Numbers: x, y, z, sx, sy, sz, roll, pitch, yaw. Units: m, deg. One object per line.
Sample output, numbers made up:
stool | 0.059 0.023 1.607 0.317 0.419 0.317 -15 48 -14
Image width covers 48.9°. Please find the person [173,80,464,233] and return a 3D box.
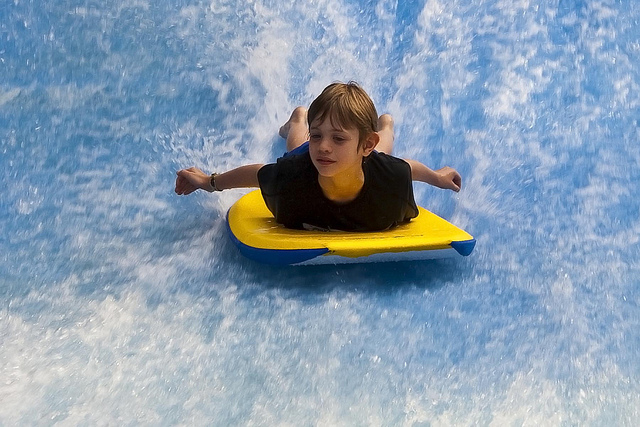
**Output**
person | 0.110 -0.282 4.467 1.227 0.492 1.159 0 18 -2
